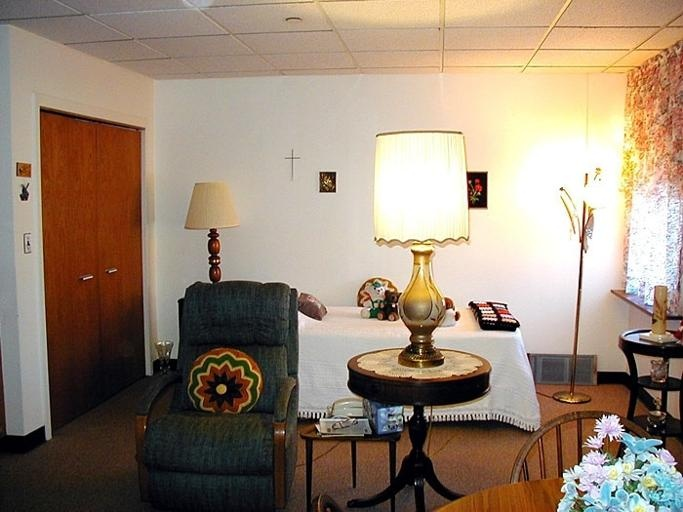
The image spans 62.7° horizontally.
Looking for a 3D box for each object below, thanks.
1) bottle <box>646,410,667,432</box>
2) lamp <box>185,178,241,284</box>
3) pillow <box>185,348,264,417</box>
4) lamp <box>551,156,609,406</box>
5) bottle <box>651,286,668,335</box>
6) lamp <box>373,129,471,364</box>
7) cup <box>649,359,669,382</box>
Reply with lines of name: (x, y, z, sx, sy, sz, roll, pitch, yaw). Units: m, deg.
bottle: (2.079, 1.079, 3.719, 0.106, 0.114, 0.146, 0, 1, -5)
lamp: (-1.238, -0.238, 5.398, 0.482, 0.951, 0.535, -2, 4, -12)
pillow: (-0.767, 0.828, 3.721, 0.392, 0.417, 0.112, -1, -6, 4)
lamp: (2.177, 0.227, 5.169, 0.374, 2.085, 0.699, 1, 5, 25)
bottle: (2.224, 0.367, 3.932, 0.082, 0.334, 0.231, 2, 5, 30)
lamp: (0.424, -0.021, 2.994, 0.483, 1.254, 0.260, 0, 4, 10)
cup: (2.143, 0.772, 3.789, 0.137, 0.169, 0.143, 3, 0, 0)
